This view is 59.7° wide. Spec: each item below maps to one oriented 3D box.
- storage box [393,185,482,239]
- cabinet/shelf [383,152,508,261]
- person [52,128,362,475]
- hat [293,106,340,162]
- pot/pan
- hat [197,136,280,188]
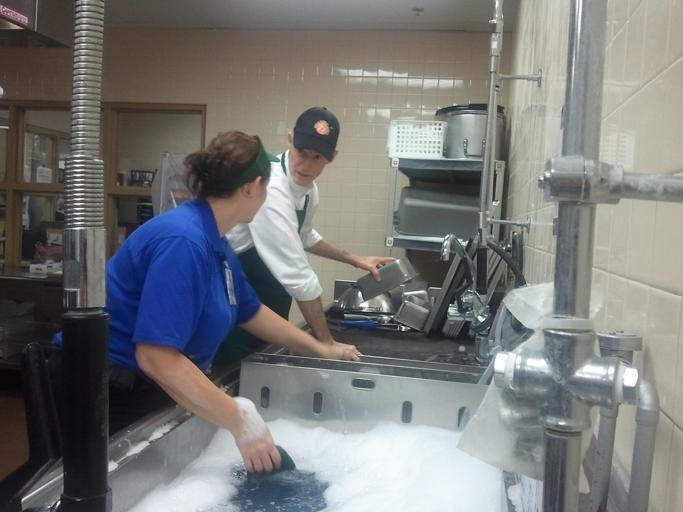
[{"bbox_3d":[0.530,-0.238,3.285,0.428,0.271,0.108,0,7,10],"label":"storage box"},{"bbox_3d":[0.632,-0.278,3.513,0.614,0.704,0.648,3,-1,20],"label":"cabinet/shelf"},{"bbox_3d":[-0.339,-0.008,1.675,0.683,1.212,0.559,3,17,-5],"label":"person"},{"bbox_3d":[-0.089,-0.436,2.181,0.128,0.109,0.213,19,37,-24],"label":"hat"},{"bbox_3d":[0.736,-0.633,3.407,0.345,0.356,0.368,1,0,26],"label":"pot/pan"},{"bbox_3d":[-0.268,-0.226,1.496,0.153,0.130,0.122,-13,37,-15],"label":"hat"}]
